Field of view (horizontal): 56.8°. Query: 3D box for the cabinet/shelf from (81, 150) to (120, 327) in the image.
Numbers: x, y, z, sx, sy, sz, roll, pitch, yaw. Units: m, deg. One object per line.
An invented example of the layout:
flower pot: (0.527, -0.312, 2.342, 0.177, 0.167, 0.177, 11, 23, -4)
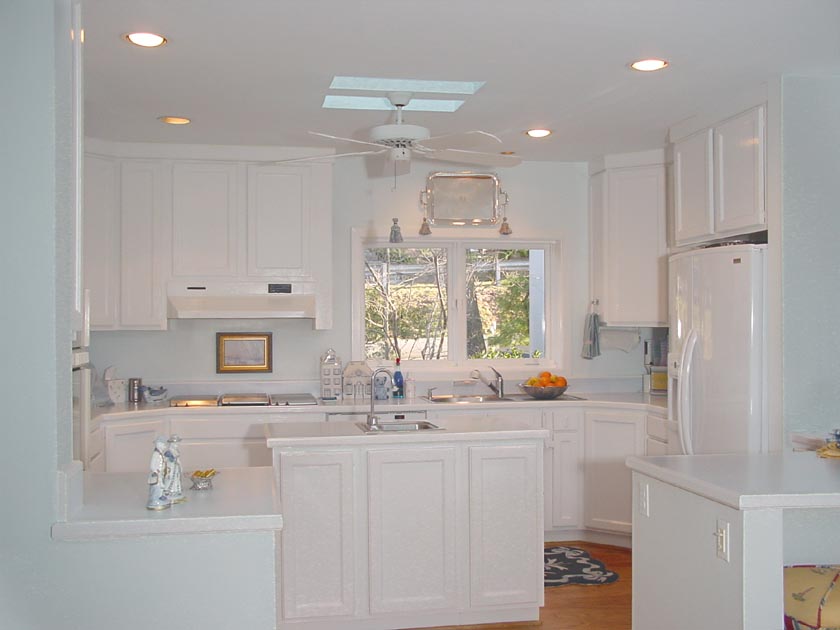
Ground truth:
cabinet/shelf: (-2.115, -0.527, 5.363, 0.351, 1.331, 0.126, 0, -2, 33)

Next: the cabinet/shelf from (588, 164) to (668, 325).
cabinet/shelf: (1.595, -0.519, 5.831, 0.489, 1.197, 0.120, -2, -1, 31)

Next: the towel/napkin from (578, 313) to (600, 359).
towel/napkin: (1.365, 0.182, 6.166, 0.155, 0.364, 0.200, -1, -1, -1)

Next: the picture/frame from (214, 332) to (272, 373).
picture/frame: (-1.345, 0.286, 5.827, 0.344, 0.234, 0.015, 0, -2, -7)

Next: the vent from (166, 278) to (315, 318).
vent: (-1.194, -0.095, 5.811, 1.256, 0.252, 0.805, 1, -5, 14)

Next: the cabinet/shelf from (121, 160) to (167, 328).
cabinet/shelf: (-1.914, -0.496, 5.399, 0.320, 1.167, 0.090, -1, -1, -22)

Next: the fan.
fan: (-0.011, -1.085, 5.124, 1.293, 0.367, 1.701, -1, -1, 6)

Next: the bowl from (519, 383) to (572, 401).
bowl: (0.928, 0.579, 5.793, 0.305, 0.112, 0.267, -1, -1, 7)

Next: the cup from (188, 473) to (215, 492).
cup: (-0.859, 0.667, 3.057, 0.067, 0.042, 0.066, 1, -4, 0)

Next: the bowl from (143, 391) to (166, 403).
bowl: (-1.888, 0.593, 5.582, 0.162, 0.077, 0.210, 0, -1, -26)

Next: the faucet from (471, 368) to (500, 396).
faucet: (0.524, 0.526, 5.973, 0.218, 0.191, 0.187, -2, -1, 24)
